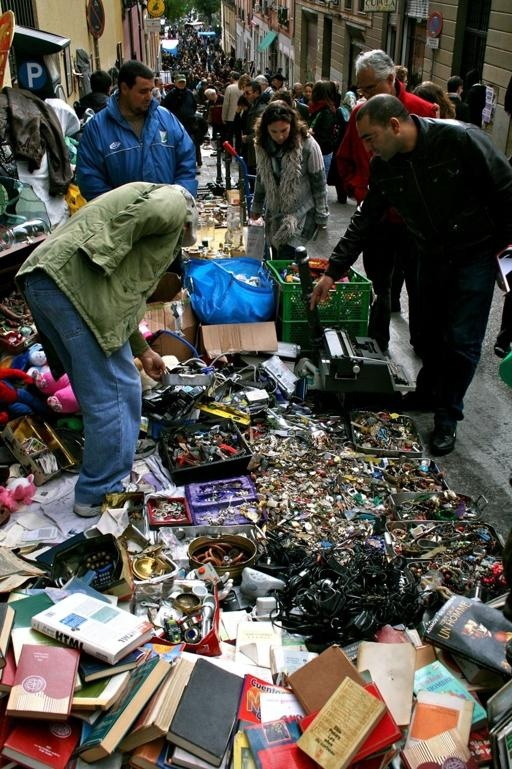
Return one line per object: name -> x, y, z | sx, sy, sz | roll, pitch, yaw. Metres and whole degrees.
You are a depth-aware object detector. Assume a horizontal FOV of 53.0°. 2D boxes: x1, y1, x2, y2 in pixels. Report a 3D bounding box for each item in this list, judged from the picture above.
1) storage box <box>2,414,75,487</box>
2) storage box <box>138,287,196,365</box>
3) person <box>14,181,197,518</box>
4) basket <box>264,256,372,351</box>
storage box -> -1.251, 0.338, 2.917 | 0.446, 0.164, 0.273 | 49, 25, 22
storage box -> -0.659, -0.452, 3.977 | 0.387, 0.527, 0.201 | -7, -1, -36
person -> -0.728, -0.194, 2.597 | 0.506, 1.527, 0.684 | 23, 30, 40
basket -> 0.478, -0.643, 4.150 | 0.761, 0.481, 0.776 | -2, 15, -9
